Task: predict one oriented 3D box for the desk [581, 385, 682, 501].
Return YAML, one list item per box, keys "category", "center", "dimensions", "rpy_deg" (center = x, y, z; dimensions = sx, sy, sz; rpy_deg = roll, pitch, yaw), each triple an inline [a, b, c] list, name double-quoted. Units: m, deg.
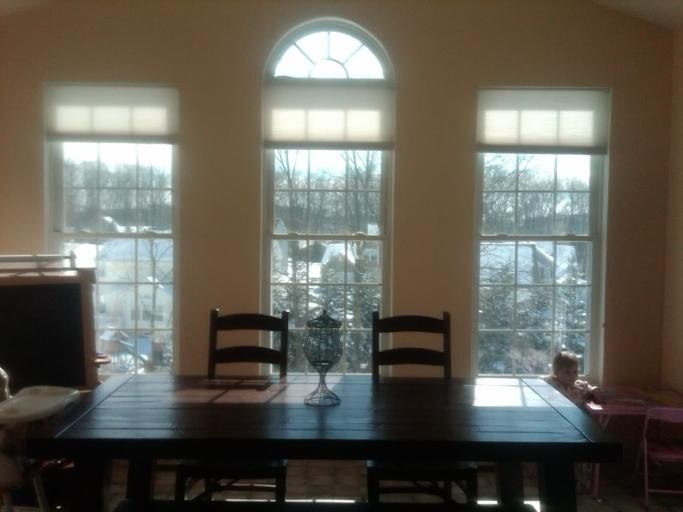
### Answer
- category: "desk"
  center: [1.972, 1.349, 4.890]
  dimensions: [0.800, 0.757, 0.689]
  rpy_deg: [-1, -2, -2]
